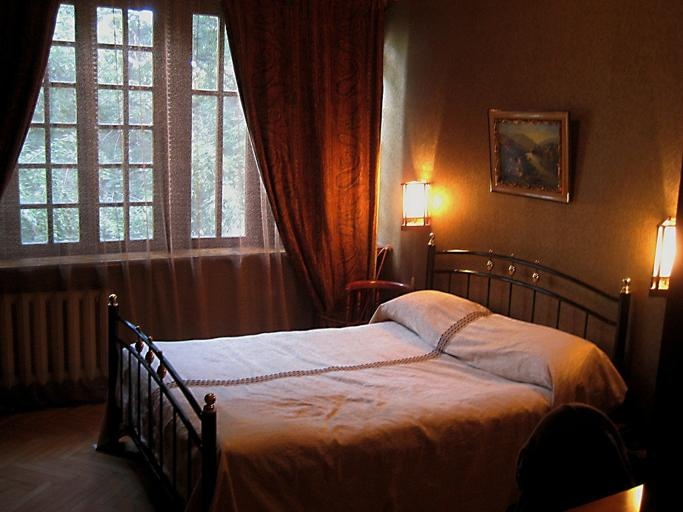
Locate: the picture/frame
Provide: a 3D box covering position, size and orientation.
[{"bbox_3d":[1.252,-0.664,3.464,0.042,0.541,0.586,-14,18,-31],"label":"picture/frame"}]

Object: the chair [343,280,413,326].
[{"bbox_3d":[0.320,0.387,4.683,0.444,0.600,0.402,-1,1,-14],"label":"chair"}]

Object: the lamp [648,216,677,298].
[{"bbox_3d":[1.719,-0.001,2.839,0.100,0.406,0.137,4,8,30],"label":"lamp"}]
